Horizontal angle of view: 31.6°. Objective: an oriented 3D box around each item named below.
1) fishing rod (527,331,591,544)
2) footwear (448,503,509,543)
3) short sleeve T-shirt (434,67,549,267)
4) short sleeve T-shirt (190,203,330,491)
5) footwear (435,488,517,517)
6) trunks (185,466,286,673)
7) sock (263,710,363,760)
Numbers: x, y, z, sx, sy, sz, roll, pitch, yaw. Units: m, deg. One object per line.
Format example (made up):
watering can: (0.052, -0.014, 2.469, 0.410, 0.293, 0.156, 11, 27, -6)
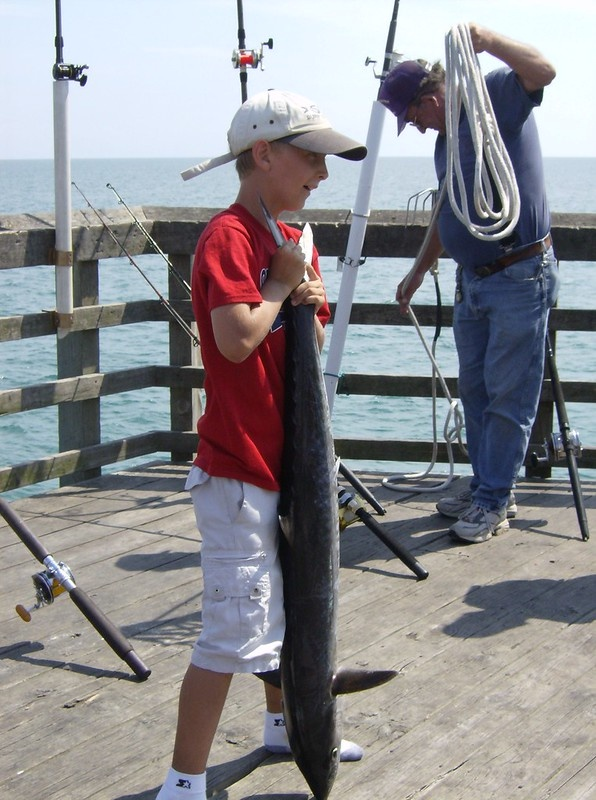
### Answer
fishing rod: (0.954, 0.138, 3.899, 0.197, 0.770, 0.191, -13, -2, 37)
footwear: (0.641, 0.437, 3.770, 0.106, 0.097, 0.244, 0, 3, 40)
short sleeve T-shirt: (0.680, -0.792, 3.662, 0.413, 0.673, 0.396, 1, 8, 7)
short sleeve T-shirt: (-0.115, -0.102, 2.100, 0.187, 0.581, 0.188, 0, 9, -4)
footwear: (0.671, 0.383, 3.972, 0.319, 0.116, 0.114, 1, 2, -41)
trunks: (-0.119, 0.343, 2.104, 0.175, 0.390, 0.145, 0, 9, -5)
sock: (0.098, 0.760, 2.394, 0.338, 0.112, 0.090, -1, -3, 5)
